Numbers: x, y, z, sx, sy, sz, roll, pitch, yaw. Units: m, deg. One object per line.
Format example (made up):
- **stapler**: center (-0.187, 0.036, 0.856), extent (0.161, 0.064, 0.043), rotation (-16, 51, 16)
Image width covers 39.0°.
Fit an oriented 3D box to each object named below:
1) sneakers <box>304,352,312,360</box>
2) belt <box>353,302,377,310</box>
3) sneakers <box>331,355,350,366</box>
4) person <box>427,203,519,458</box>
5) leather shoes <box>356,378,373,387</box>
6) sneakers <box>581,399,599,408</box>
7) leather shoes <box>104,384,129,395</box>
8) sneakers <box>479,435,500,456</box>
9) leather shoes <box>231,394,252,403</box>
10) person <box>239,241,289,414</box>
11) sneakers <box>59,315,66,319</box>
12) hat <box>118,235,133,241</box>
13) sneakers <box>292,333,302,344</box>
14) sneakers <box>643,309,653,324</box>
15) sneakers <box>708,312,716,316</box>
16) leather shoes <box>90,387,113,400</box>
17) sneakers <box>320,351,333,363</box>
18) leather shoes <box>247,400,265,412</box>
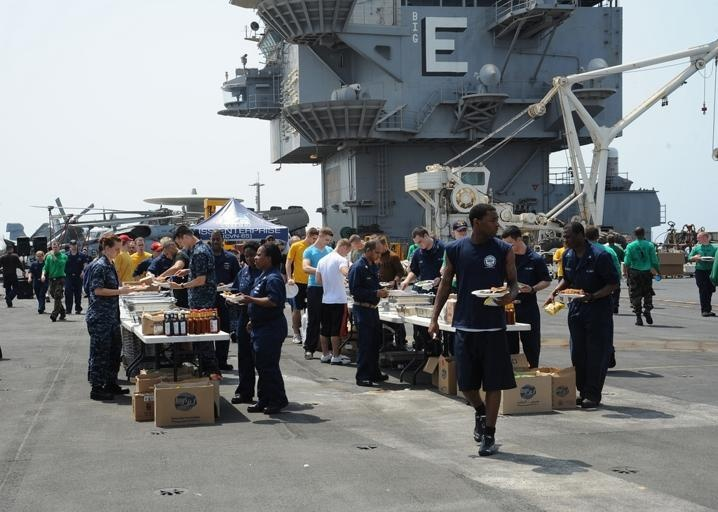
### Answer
- **sneakers**: center (-0.877, 1.766, 17.831), extent (0.088, 0.101, 0.136), rotation (3, -9, -8)
- **belt**: center (0.095, 0.779, 15.753), extent (0.356, 0.102, 0.141), rotation (1, 10, 7)
- **sneakers**: center (-0.313, 1.810, 17.506), extent (0.128, 0.151, 0.362), rotation (1, 1, 40)
- **person**: center (1.544, 0.886, 12.973), extent (0.760, 3.106, 0.987), rotation (-8, 12, -41)
- **leather shoes**: center (0.087, 1.976, 15.712), extent (0.245, 0.096, 0.090), rotation (0, -1, 12)
- **sneakers**: center (3.248, 2.087, 14.283), extent (0.143, 0.053, 0.148), rotation (-2, 2, -4)
- **leather shoes**: center (-3.630, 2.005, 15.185), extent (0.330, 0.140, 0.131), rotation (0, 0, -11)
- **sneakers**: center (1.626, 2.400, 12.759), extent (0.188, 0.209, 0.534), rotation (-2, -6, 11)
- **leather shoes**: center (-1.701, 2.098, 14.851), extent (0.328, 0.141, 0.120), rotation (7, -8, -16)
- **person**: center (-1.314, 1.019, 14.280), extent (0.589, 2.361, 0.526), rotation (0, 9, 2)
- **sneakers**: center (-7.162, 1.485, 24.492), extent (0.145, 0.164, 0.109), rotation (3, -6, -12)
- **hat**: center (-5.511, -0.435, 23.935), extent (0.196, 0.165, 0.316), rotation (12, 1, 27)
- **sneakers**: center (-1.177, 1.589, 19.461), extent (0.145, 0.192, 0.446), rotation (1, -6, -7)
- **sneakers**: center (6.142, 1.295, 21.593), extent (0.092, 0.266, 0.179), rotation (-24, 0, 28)
- **sneakers**: center (7.883, 1.307, 22.605), extent (0.082, 0.097, 0.245), rotation (-1, -4, 14)
- **leather shoes**: center (-3.811, 2.042, 15.032), extent (0.280, 0.197, 0.183), rotation (-1, 0, -3)
- **sneakers**: center (-0.556, 1.744, 17.510), extent (0.193, 0.177, 0.349), rotation (-1, 10, -5)
- **leather shoes**: center (-1.429, 2.139, 14.348), extent (0.346, 0.143, 0.118), rotation (-1, -6, 36)
